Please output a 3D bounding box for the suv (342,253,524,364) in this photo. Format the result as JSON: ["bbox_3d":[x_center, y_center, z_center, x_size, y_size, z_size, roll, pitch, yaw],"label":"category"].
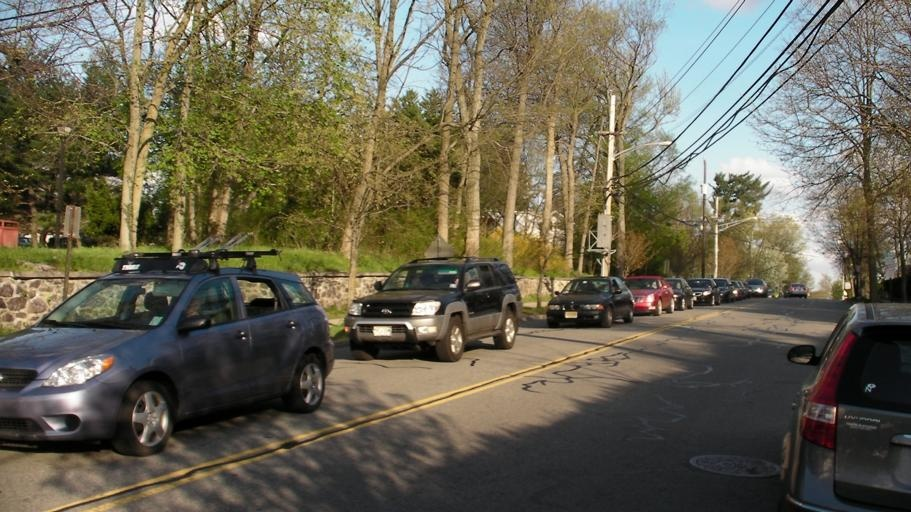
[{"bbox_3d":[-0.491,1.462,18.407,2.395,2.622,4.668,5,6,38],"label":"suv"}]
